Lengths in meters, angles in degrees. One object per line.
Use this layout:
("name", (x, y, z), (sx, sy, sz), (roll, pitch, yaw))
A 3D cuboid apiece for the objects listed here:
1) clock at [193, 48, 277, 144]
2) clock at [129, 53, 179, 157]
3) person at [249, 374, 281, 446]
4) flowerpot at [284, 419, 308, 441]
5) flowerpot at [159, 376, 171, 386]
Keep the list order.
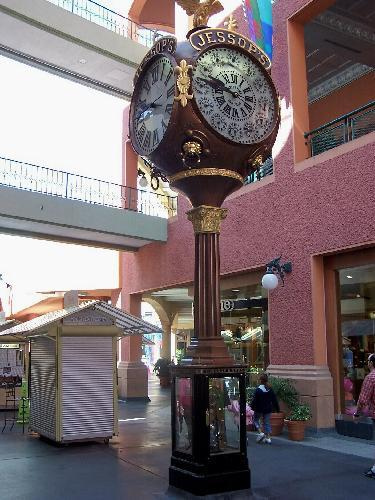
("clock", (0.452, -1.582, 4.858), (1.106, 0.982, 0.062), (11, -21, -39))
("clock", (-0.384, -1.563, 5.069), (0.097, 1.169, 1.251), (14, 23, 13))
("person", (1.353, 2.777, 8.324), (0.483, 1.149, 0.818), (-1, -10, 10))
("flowerpot", (1.896, 3.153, 8.291), (0.361, 0.255, 0.322), (2, -22, -7))
("flowerpot", (-1.039, 6.309, 22.851), (0.527, 0.363, 0.509), (6, -8, -30))
